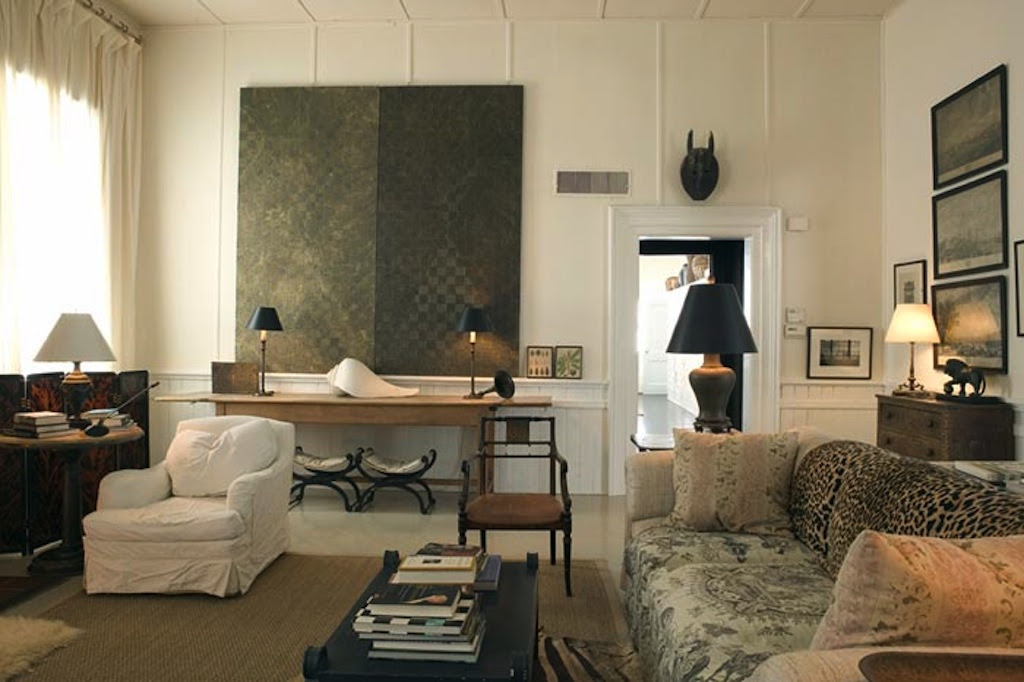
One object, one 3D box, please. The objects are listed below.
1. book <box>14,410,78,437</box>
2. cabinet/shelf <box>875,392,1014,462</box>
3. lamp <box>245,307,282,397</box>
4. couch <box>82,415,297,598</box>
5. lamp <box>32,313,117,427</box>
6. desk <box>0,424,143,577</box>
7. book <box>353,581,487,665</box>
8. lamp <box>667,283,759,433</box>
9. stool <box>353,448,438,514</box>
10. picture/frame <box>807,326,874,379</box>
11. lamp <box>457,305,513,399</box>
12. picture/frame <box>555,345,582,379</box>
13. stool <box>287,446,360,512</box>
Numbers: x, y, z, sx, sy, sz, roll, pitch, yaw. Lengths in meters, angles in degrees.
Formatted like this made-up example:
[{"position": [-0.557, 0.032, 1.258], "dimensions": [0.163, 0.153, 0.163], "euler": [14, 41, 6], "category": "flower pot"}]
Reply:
[{"position": [-3.640, 0.636, 6.472], "dimensions": [0.399, 0.179, 0.202], "euler": [-2, 2, -31], "category": "book"}, {"position": [3.612, 0.575, 7.068], "dimensions": [0.525, 0.830, 0.878], "euler": [1, -1, -5], "category": "cabinet/shelf"}, {"position": [-2.376, 0.078, 8.089], "dimensions": [0.321, 0.842, 0.540], "euler": [-2, 2, -16], "category": "lamp"}, {"position": [-2.395, 1.172, 6.297], "dimensions": [1.266, 1.156, 1.329], "euler": [-1, -6, 7], "category": "couch"}, {"position": [-3.493, 0.220, 6.756], "dimensions": [0.496, 0.899, 0.490], "euler": [-2, 2, -14], "category": "lamp"}, {"position": [-3.529, 1.203, 6.576], "dimensions": [1.054, 0.959, 1.088], "euler": [0, -6, 5], "category": "desk"}, {"position": [-0.540, 1.623, 4.800], "dimensions": [0.469, 0.177, 0.473], "euler": [0, -1, 4], "category": "book"}, {"position": [1.500, 0.107, 6.231], "dimensions": [0.628, 1.110, 0.850], "euler": [0, 3, 42], "category": "lamp"}, {"position": [-1.080, 1.271, 7.789], "dimensions": [0.687, 0.495, 0.540], "euler": [2, -1, 4], "category": "stool"}, {"position": [3.161, 0.111, 8.074], "dimensions": [0.469, 0.405, 0.054], "euler": [1, -4, -1], "category": "picture/frame"}, {"position": [-0.259, 0.091, 7.967], "dimensions": [0.491, 0.889, 0.462], "euler": [-1, 2, -4], "category": "lamp"}, {"position": [0.546, 0.210, 8.139], "dimensions": [0.285, 0.341, 0.023], "euler": [2, 0, 2], "category": "picture/frame"}, {"position": [-1.753, 1.282, 7.825], "dimensions": [0.687, 0.472, 0.492], "euler": [1, 1, 3], "category": "stool"}]
